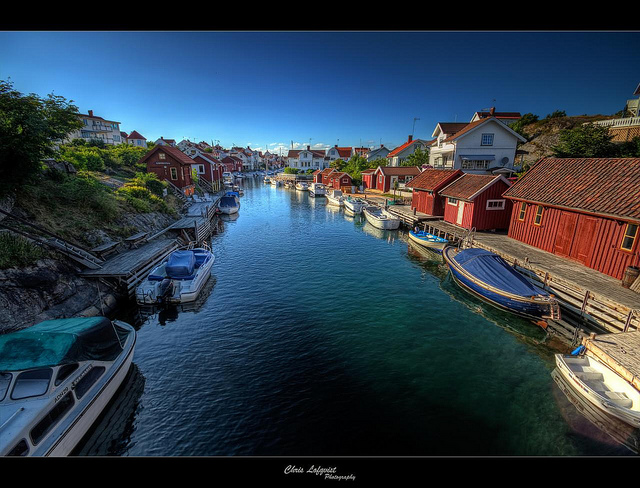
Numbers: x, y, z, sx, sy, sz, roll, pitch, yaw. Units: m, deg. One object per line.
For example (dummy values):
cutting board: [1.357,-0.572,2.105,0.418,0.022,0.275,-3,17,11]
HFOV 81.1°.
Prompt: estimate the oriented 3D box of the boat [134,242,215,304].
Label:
boat: [-7.811,1.687,20.556,2.795,2.286,4.746,-2,8,-3]

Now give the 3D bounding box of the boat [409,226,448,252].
boat: [8.409,-0.389,29.593,1.268,1.505,4.469,-3,8,-9]

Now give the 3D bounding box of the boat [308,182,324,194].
boat: [-0.575,-9.908,66.859,2.058,2.289,4.423,-3,8,-9]
